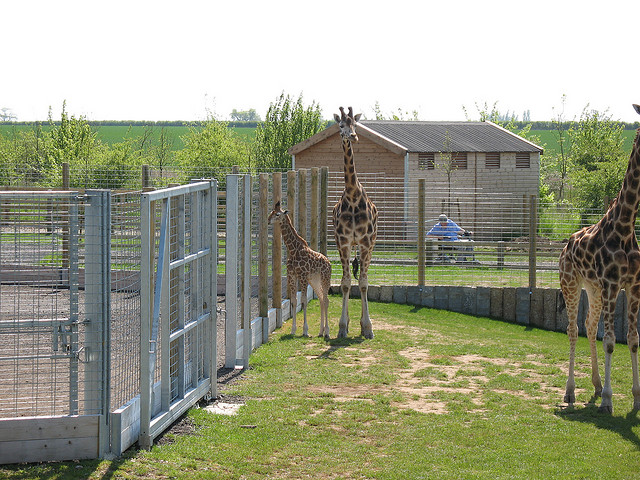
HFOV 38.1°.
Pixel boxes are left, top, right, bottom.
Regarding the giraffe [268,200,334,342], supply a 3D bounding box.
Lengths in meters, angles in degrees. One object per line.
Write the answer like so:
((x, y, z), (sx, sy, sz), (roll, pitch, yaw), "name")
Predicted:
((-0.332, 0.494, 15.482), (1.045, 2.267, 0.739), (2, 10, -2), "giraffe")

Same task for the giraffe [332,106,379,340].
((0.578, -0.357, 15.913), (0.818, 3.941, 2.376), (2, 10, 2), "giraffe")
